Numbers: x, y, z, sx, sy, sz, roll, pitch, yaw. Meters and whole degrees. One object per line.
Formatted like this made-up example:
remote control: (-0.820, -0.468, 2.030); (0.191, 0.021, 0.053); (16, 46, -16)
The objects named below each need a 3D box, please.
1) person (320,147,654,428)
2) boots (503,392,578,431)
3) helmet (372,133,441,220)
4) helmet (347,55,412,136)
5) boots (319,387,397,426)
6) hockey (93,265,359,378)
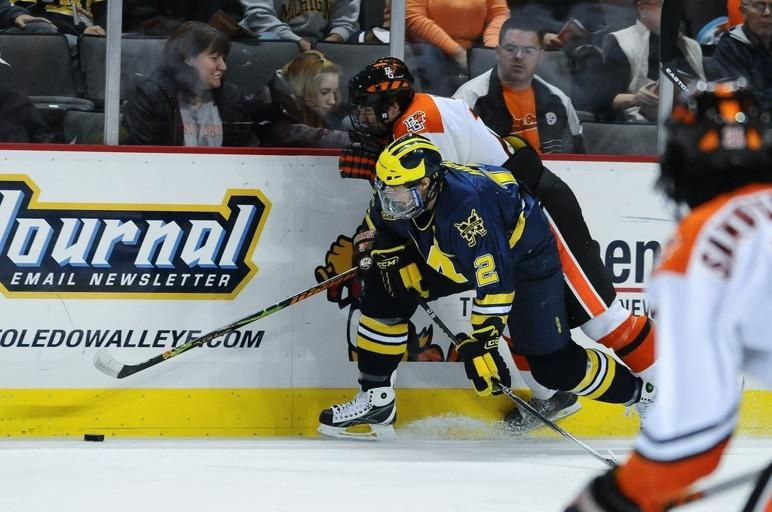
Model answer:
person: (0.699, 0.244, 6.186); (2.217, 1.373, 1.088); (2, 7, -4)
boots: (0.925, 0.921, 6.668); (0.546, 0.159, 0.215); (-11, -18, 6)
helmet: (0.107, -0.415, 6.018); (0.354, 0.367, 0.447); (5, 21, 43)
helmet: (0.024, -0.897, 6.316); (0.415, 0.348, 0.300); (-12, 12, 7)
boots: (-0.130, 0.834, 6.482); (0.546, 0.242, 0.170); (2, 25, -3)
hockey: (-0.987, 0.371, 6.472); (1.628, 0.125, 0.191); (-17, 53, 1)
